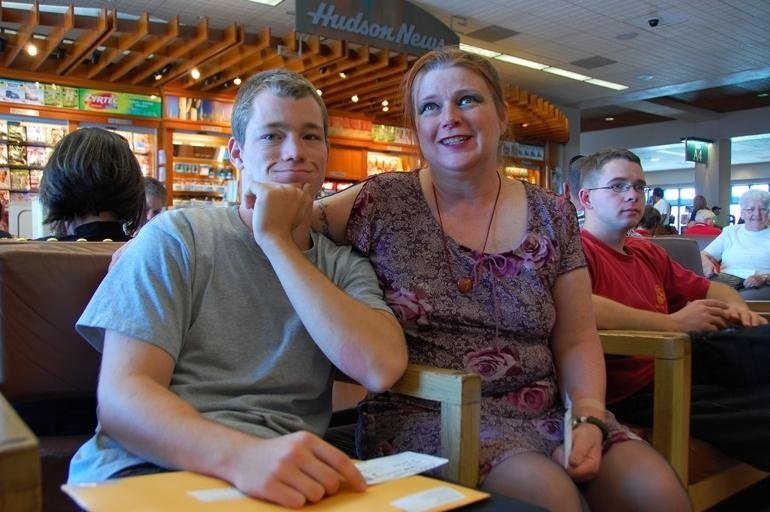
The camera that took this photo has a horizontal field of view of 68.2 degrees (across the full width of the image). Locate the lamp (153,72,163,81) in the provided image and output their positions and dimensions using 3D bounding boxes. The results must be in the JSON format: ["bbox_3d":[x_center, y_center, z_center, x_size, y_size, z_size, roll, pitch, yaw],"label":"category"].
[{"bbox_3d":[-3.169,-2.502,8.025,0.107,0.110,0.107,-1,9,13],"label":"lamp"}]

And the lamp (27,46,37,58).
[{"bbox_3d":[-4.278,-2.486,6.970,0.110,0.081,0.109,6,-17,-12],"label":"lamp"}]

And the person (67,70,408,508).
[{"bbox_3d":[-0.384,0.015,1.734,0.905,1.227,0.729,3,6,21],"label":"person"}]

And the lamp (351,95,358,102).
[{"bbox_3d":[-0.468,-2.560,9.336,0.086,0.085,0.047,2,-13,-14],"label":"lamp"}]

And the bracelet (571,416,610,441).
[{"bbox_3d":[0.663,0.553,1.849,0.089,0.024,0.093,28,32,15],"label":"bracelet"}]

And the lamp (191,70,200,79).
[{"bbox_3d":[-2.577,-2.470,7.824,0.108,0.146,0.108,-3,8,-1],"label":"lamp"}]
